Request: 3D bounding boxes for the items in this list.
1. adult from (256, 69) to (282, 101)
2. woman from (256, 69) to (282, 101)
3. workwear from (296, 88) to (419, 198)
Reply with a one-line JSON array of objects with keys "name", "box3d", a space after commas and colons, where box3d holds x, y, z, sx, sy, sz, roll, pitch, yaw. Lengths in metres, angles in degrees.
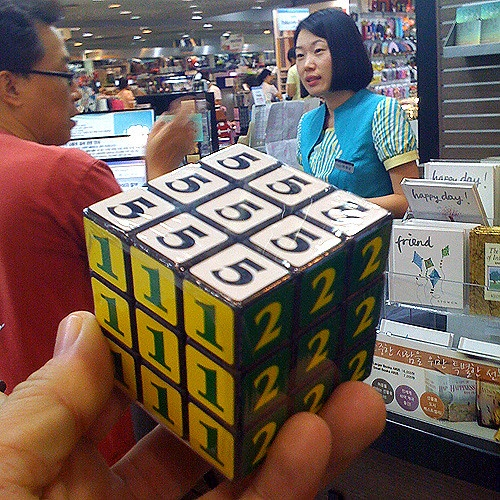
[{"name": "adult", "box3d": [0.464, -3.975, 9.988, 0.535, 0.745, 1.100, -2, 21, 5]}, {"name": "woman", "box3d": [0.463, -3.970, 9.975, 0.536, 0.745, 1.072, -2, 21, 5]}, {"name": "workwear", "box3d": [0.485, -0.527, 2.145, 0.364, 0.552, 0.691, -6, 8, -38]}]
